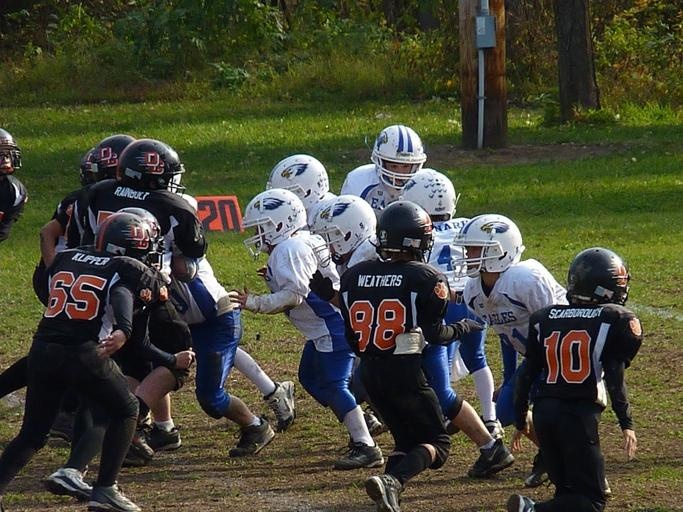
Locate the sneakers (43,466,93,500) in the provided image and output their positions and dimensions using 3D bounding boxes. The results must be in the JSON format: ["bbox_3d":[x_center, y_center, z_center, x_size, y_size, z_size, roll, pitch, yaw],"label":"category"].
[{"bbox_3d":[-2.824,2.404,14.101,0.572,0.283,0.207,32,-33,-34],"label":"sneakers"}]

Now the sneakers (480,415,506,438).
[{"bbox_3d":[1.714,1.948,15.026,0.148,0.355,0.119,-37,-22,25],"label":"sneakers"}]

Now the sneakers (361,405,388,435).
[{"bbox_3d":[0.379,1.931,15.520,0.185,0.418,0.142,3,45,50],"label":"sneakers"}]

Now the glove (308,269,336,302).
[{"bbox_3d":[-0.217,0.347,14.689,0.093,0.338,0.238,-36,-1,-44],"label":"glove"}]
